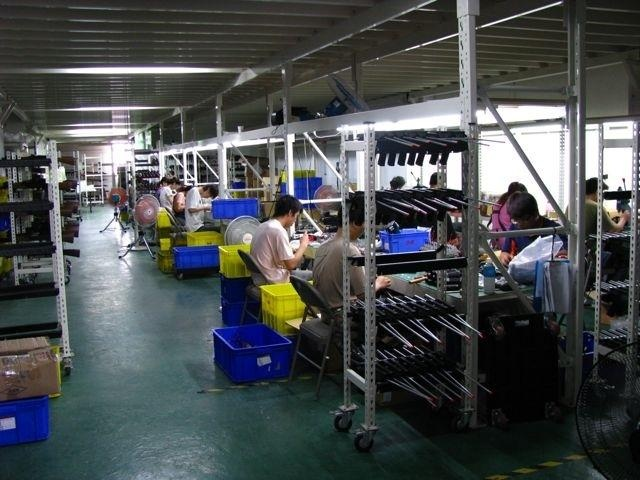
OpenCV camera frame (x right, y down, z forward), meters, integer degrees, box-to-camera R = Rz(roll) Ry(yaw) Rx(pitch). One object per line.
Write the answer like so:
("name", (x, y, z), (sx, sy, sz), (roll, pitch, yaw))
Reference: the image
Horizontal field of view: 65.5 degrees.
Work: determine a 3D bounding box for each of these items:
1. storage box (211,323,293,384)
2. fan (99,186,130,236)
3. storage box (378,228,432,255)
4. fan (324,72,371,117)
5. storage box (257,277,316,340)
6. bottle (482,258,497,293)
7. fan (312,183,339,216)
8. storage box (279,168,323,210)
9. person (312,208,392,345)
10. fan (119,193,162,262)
("storage box", (-0.634, 1.055, 4.646), (0.645, 0.370, 0.541), (-5, 12, -18))
("fan", (-5.682, -0.866, 13.781), (0.808, 1.170, 0.801), (-6, 1, -35))
("storage box", (0.959, 0.017, 5.523), (0.446, 0.186, 0.277), (-2, 3, -20))
("fan", (0.337, -1.759, 5.978), (0.277, 0.479, 0.762), (-6, 12, -20))
("storage box", (-0.372, 0.673, 4.973), (0.465, 0.276, 0.457), (-2, 7, -26))
("bottle", (1.292, 0.292, 3.806), (0.085, 0.216, 0.138), (1, 11, 14))
("fan", (0.117, -0.606, 7.729), (0.450, 0.440, 0.130), (8, 3, -25))
("storage box", (-0.358, -1.081, 9.999), (0.977, 0.588, 0.933), (-3, 5, -38))
("person", (0.330, 0.124, 4.338), (0.711, 0.871, 0.617), (-2, 9, -33))
("fan", (-3.551, -0.328, 9.978), (0.715, 1.032, 0.716), (14, -8, -37))
